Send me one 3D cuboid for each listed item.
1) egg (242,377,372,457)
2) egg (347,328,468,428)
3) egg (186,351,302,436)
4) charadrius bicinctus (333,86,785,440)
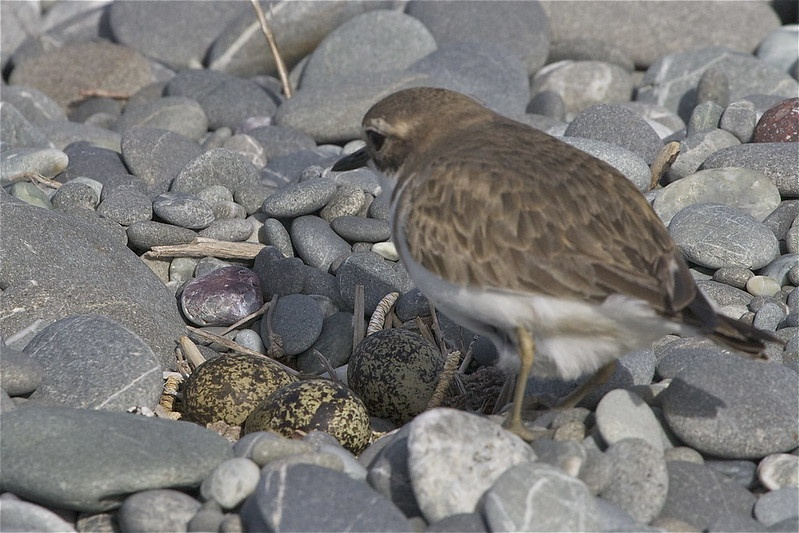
[{"bbox_3d":[-0.640,1.026,6.995,0.709,0.396,0.510,-1,37,14],"label":"egg"},{"bbox_3d":[0.016,0.779,7.541,0.825,0.603,0.608,0,28,23],"label":"egg"},{"bbox_3d":[-1.187,0.971,7.633,0.745,1.033,0.689,8,87,40],"label":"egg"},{"bbox_3d":[1.021,-0.079,7.089,3.500,1.627,2.219,9,104,40],"label":"charadrius bicinctus"}]
